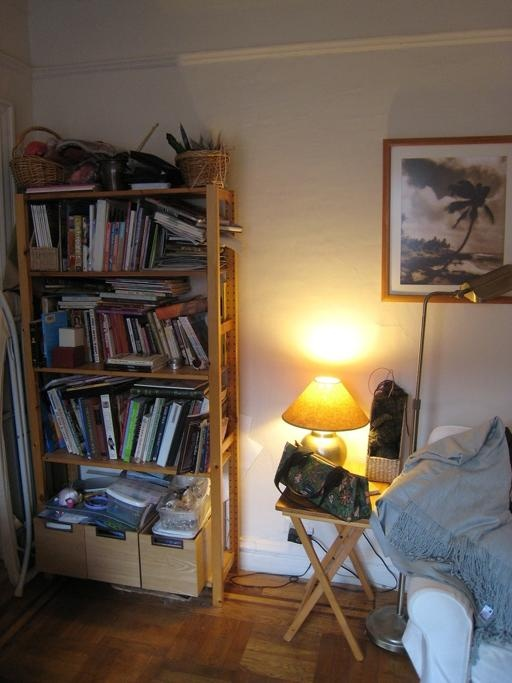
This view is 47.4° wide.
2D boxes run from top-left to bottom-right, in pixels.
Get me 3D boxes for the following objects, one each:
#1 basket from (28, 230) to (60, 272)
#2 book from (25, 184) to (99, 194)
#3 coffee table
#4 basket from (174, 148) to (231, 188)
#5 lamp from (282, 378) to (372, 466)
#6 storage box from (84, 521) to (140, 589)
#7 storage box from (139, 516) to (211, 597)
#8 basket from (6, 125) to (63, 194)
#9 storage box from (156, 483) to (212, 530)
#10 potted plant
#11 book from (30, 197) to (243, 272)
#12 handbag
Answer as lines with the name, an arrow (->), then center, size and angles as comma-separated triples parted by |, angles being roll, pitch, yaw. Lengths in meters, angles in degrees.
basket -> -0.855, -0.347, 2.369 | 0.131, 0.111, 0.124 | 1, 10, 0
book -> -0.789, -0.608, 2.328 | 0.301, 0.036, 0.048 | 3, 11, 12
coffee table -> 0.318, 0.863, 2.342 | 0.389, 0.463, 0.410 | 0, 6, 18
basket -> -0.204, -0.654, 2.244 | 0.182, 0.099, 0.184 | 9, 19, 32
lamp -> 0.274, 0.342, 2.315 | 0.332, 0.318, 0.343 | 5, 3, 38
storage box -> -0.559, 0.890, 2.557 | 0.287, 0.231, 0.264 | 2, 10, 10
storage box -> -0.339, 0.911, 2.472 | 0.309, 0.201, 0.293 | 1, 5, 12
basket -> -0.889, -0.767, 2.398 | 0.215, 0.234, 0.237 | -8, 27, -20
storage box -> -0.303, 0.742, 2.502 | 0.228, 0.091, 0.303 | 2, -6, 7
potted plant -> -0.249, -0.695, 2.254 | 0.174, 0.179, 0.195 | -13, 20, 36
book -> -0.547, -0.434, 2.395 | 0.798, 0.298, 0.217 | 4, 12, 16
handbag -> 0.237, 0.526, 2.165 | 0.204, 0.196, 0.376 | -9, 21, -43
